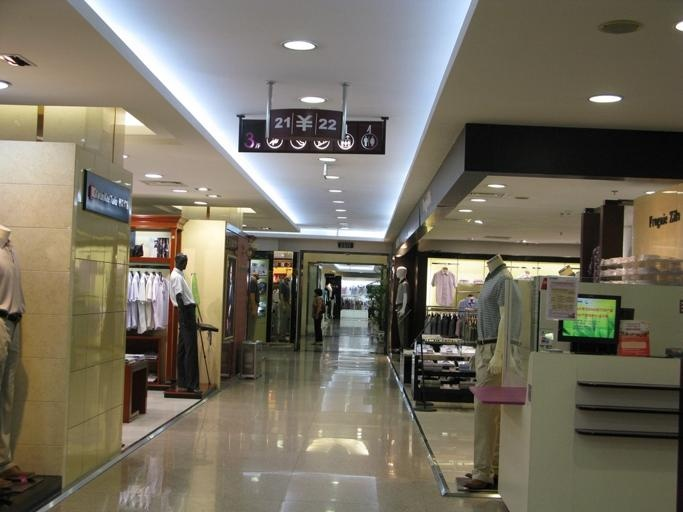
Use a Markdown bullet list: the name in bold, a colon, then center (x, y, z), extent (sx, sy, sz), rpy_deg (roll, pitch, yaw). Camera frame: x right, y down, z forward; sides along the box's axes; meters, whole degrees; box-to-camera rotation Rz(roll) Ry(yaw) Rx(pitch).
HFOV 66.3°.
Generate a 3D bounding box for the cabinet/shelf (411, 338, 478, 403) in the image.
- **cabinet/shelf**: center (1.619, 1.838, 8.597), extent (0.913, 0.849, 1.340), rpy_deg (0, -3, 0)

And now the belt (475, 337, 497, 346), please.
- **belt**: center (1.396, 0.815, 4.984), extent (0.119, 0.042, 0.132), rpy_deg (-5, -1, 8)

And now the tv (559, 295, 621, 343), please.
- **tv**: center (1.973, 0.539, 4.106), extent (0.457, 0.401, 0.230), rpy_deg (-3, -31, 36)

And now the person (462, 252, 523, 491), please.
- **person**: center (1.432, 1.070, 4.922), extent (0.521, 2.182, 0.625), rpy_deg (2, -3, -11)

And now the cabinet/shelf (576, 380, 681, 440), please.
- **cabinet/shelf**: center (2.132, 1.143, 3.717), extent (0.643, 0.479, 0.157), rpy_deg (1, -3, 2)

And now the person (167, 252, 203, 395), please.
- **person**: center (-2.431, 1.156, 8.154), extent (0.424, 1.918, 0.541), rpy_deg (1, -3, 7)

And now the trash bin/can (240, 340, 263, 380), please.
- **trash bin/can**: center (-1.732, 2.006, 10.205), extent (0.435, 0.682, 0.427), rpy_deg (3, -4, -23)

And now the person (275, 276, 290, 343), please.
- **person**: center (-1.718, 1.577, 15.648), extent (0.369, 1.881, 0.496), rpy_deg (2, -3, -7)

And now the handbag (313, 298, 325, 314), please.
- **handbag**: center (-0.696, 1.579, 16.556), extent (0.383, 0.724, 0.566), rpy_deg (0, 1, -1)

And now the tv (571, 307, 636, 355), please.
- **tv**: center (2.043, 0.601, 4.209), extent (0.425, 0.383, 0.453), rpy_deg (7, -9, -33)

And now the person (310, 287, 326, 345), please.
- **person**: center (-0.730, 1.894, 16.839), extent (0.425, 1.716, 1.040), rpy_deg (2, -3, -3)
